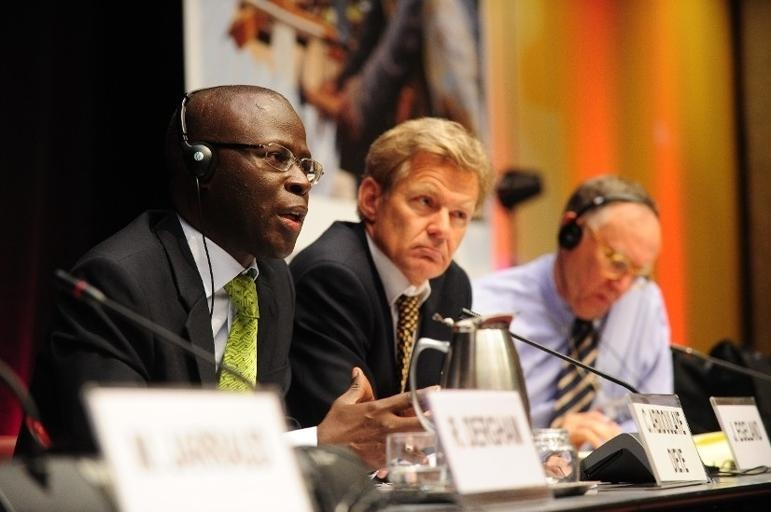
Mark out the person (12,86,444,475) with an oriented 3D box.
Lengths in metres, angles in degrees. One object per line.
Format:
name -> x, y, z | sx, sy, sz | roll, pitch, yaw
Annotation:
person -> -0.396, 0.194, 2.435 | 1.210, 1.232, 0.788 | 0, -2, 15

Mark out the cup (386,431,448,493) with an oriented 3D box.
cup -> 0.067, 0.435, 1.881 | 0.122, 0.109, 0.118 | 0, -11, 0

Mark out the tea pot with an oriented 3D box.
tea pot -> 0.201, 0.300, 2.135 | 0.332, 0.311, 0.210 | -7, -8, 23

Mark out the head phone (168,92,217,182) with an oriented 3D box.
head phone -> -0.504, -0.318, 2.380 | 0.094, 0.241, 0.096 | -13, 8, -9

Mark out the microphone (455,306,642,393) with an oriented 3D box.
microphone -> 0.496, 0.286, 2.778 | 0.633, 0.030, 0.078 | 28, -3, 4

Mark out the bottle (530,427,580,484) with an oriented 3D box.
bottle -> 0.372, 0.437, 1.965 | 0.109, 0.104, 0.114 | -1, -6, -33

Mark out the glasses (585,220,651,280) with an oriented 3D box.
glasses -> 0.772, -0.001, 2.986 | 0.059, 0.189, 0.188 | -41, -23, 15
